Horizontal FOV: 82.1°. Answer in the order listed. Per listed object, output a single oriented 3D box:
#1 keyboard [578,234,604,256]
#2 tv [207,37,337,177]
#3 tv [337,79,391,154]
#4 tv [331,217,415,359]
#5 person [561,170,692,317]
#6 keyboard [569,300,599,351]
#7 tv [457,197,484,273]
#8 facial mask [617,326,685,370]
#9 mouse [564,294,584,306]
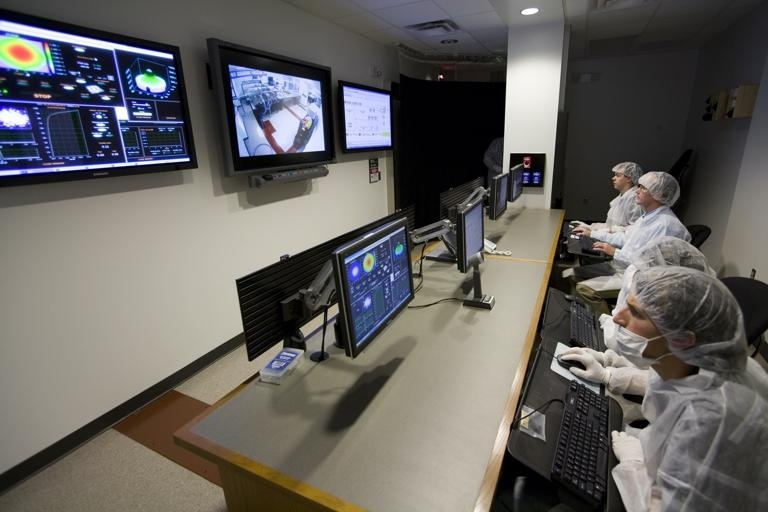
[{"bbox_3d":[2.401,-0.135,5.072,0.300,0.273,0.079,13,-28,-20],"label":"keyboard"},{"bbox_3d":[-1.039,-1.438,4.444,0.148,1.114,1.540,9,17,29],"label":"tv"},{"bbox_3d":[-0.210,-1.762,5.703,0.131,0.829,1.389,6,16,25],"label":"tv"},{"bbox_3d":[-0.053,0.227,2.637,0.077,0.570,0.769,2,21,29],"label":"tv"},{"bbox_3d":[2.441,0.015,4.497,0.799,1.727,1.092,-9,18,-38],"label":"person"},{"bbox_3d":[1.445,0.457,3.128,0.078,0.688,0.217,-43,49,-9],"label":"keyboard"},{"bbox_3d":[0.645,-0.137,3.268,0.074,0.412,0.570,2,9,21],"label":"tv"},{"bbox_3d":[1.497,0.507,2.495,0.326,0.221,0.306,0,6,26],"label":"facial mask"},{"bbox_3d":[1.465,0.337,3.390,0.081,0.032,0.107,22,20,23],"label":"mouse"}]
